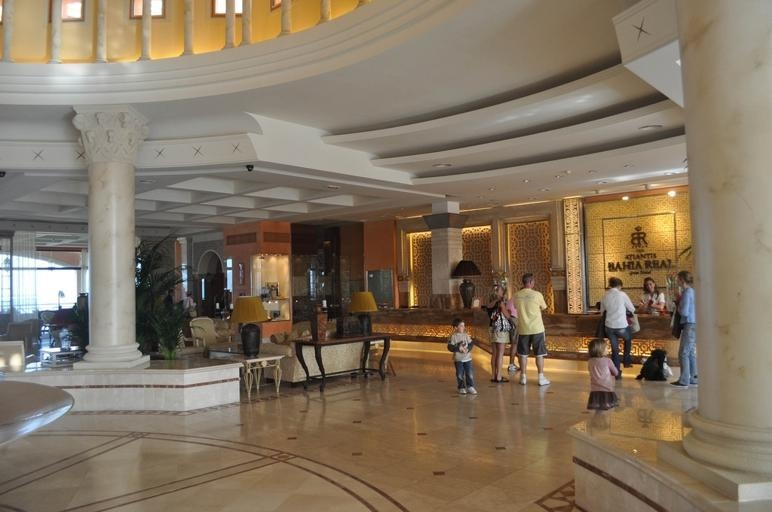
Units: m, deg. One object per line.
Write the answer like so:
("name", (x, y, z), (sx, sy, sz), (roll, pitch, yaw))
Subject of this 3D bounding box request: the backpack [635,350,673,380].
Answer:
("backpack", (4.724, 1.901, 9.766), (0.504, 0.505, 0.450), (17, 14, -8))

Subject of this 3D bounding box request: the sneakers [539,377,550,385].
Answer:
("sneakers", (2.739, 2.161, 9.732), (0.203, 0.146, 0.315), (0, 1, 16))

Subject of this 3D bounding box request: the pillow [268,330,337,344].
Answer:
("pillow", (-1.512, 1.518, 10.397), (0.523, 0.230, 0.579), (0, -1, 43))

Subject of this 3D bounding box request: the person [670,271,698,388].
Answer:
("person", (4.706, 1.191, 8.855), (0.320, 1.868, 0.707), (0, 2, 27))

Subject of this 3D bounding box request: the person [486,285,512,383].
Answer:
("person", (2.106, 1.435, 10.485), (0.435, 1.731, 1.083), (0, 2, 9))

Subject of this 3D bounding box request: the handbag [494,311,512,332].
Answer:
("handbag", (2.085, 1.200, 10.021), (0.358, 0.319, 0.121), (-1, 2, -8))

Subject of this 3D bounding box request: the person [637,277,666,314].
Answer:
("person", (4.939, 0.799, 10.486), (0.461, 0.758, 0.445), (-2, 10, 36))

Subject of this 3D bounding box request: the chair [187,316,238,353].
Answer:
("chair", (-3.957, 1.929, 12.747), (1.009, 1.041, 0.950), (-3, -4, 9))

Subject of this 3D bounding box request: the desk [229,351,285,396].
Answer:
("desk", (-2.301, 2.084, 9.974), (0.932, 0.538, 0.902), (-2, -3, 7))

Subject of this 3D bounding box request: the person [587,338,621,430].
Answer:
("person", (2.841, 1.625, 7.363), (0.349, 1.059, 0.620), (0, 2, 20))

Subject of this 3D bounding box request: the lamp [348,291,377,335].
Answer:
("lamp", (-0.429, 1.100, 10.704), (0.570, 0.799, 0.591), (-8, -7, 15))

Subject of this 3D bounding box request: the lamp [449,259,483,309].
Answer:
("lamp", (1.953, 0.704, 13.995), (0.720, 1.175, 1.476), (0, 1, 8))

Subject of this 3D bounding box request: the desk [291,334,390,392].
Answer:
("desk", (-0.779, 2.007, 10.670), (0.788, 0.912, 1.996), (-5, -6, 37))

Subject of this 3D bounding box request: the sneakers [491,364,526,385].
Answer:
("sneakers", (2.201, 2.181, 10.367), (0.677, 0.251, 0.221), (-2, 1, -39))

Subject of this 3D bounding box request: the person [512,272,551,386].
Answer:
("person", (2.617, 1.287, 10.108), (0.616, 1.938, 1.046), (0, 2, 16))

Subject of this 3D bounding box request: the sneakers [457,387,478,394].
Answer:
("sneakers", (1.352, 2.244, 9.325), (0.321, 0.140, 0.124), (-4, -5, 23))

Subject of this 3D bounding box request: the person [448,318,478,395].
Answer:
("person", (1.296, 1.682, 9.532), (0.448, 1.254, 0.846), (-1, 2, 6))
